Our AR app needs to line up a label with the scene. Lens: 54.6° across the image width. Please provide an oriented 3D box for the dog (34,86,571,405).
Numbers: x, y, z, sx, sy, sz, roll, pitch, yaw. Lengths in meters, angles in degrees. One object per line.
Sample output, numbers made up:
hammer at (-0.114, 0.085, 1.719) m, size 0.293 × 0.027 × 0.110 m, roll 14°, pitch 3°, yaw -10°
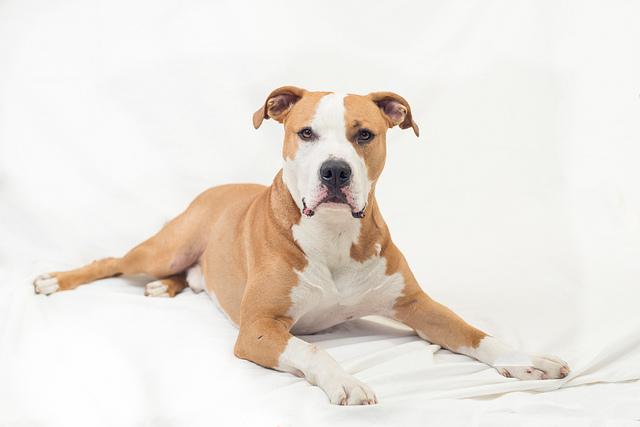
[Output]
dog at (-0.145, 0.146, 5.603) m, size 4.298 × 2.454 × 1.826 m, roll 5°, pitch 24°, yaw 33°
